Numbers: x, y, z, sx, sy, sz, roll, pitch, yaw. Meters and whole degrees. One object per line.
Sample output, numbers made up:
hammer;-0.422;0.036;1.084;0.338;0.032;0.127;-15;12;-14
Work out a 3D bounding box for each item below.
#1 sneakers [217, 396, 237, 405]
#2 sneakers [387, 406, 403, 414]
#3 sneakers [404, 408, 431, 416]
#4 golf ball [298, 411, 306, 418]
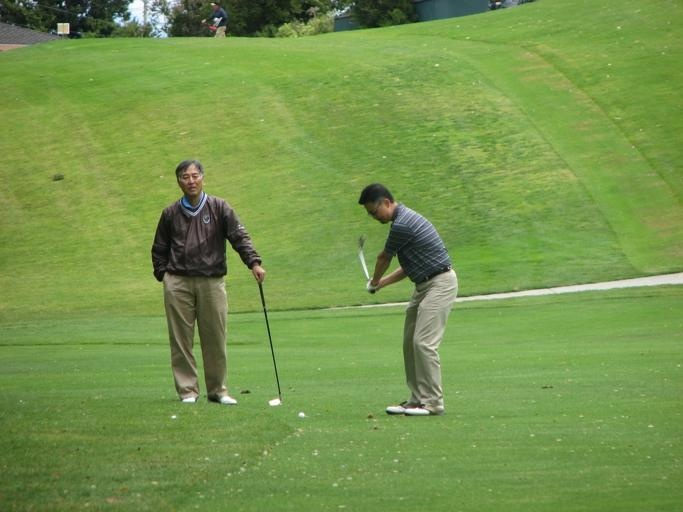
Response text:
sneakers;-1.989;2.520;18.670;0.271;0.085;0.140;-3;-2;32
sneakers;0.913;2.643;18.373;0.268;0.079;0.119;2;-11;-2
sneakers;1.311;2.662;18.329;0.372;0.096;0.166;3;-9;-3
golf ball;-0.672;2.678;18.099;0.088;0.033;0.067;-11;22;-39
